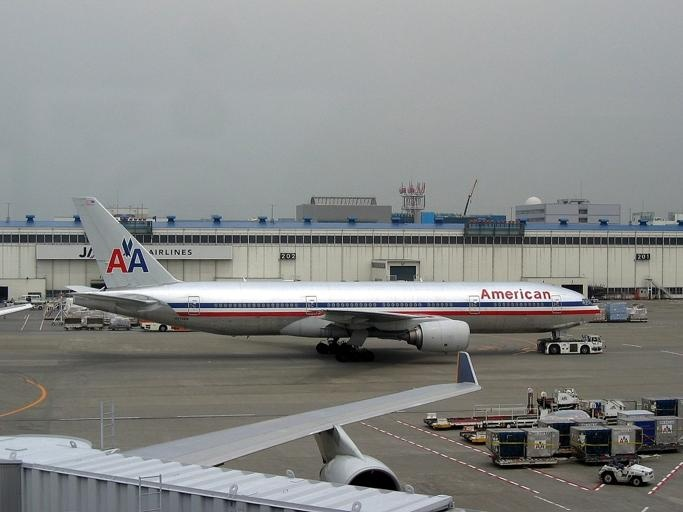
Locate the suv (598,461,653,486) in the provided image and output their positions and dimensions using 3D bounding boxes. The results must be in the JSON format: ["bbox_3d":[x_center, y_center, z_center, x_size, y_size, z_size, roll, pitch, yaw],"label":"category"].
[{"bbox_3d":[14.905,11.356,67.678,2.260,0.735,1.242,-2,2,12],"label":"suv"}]

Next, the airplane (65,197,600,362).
[{"bbox_3d":[-0.210,1.830,103.221,36.648,10.453,35.148,0,-2,-2],"label":"airplane"}]
